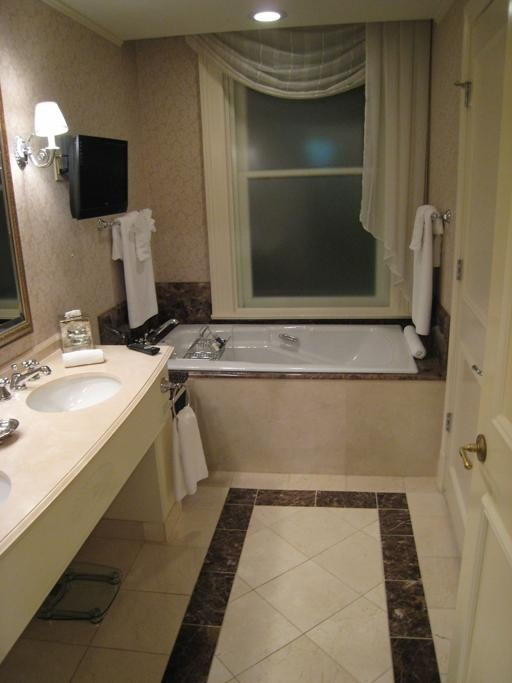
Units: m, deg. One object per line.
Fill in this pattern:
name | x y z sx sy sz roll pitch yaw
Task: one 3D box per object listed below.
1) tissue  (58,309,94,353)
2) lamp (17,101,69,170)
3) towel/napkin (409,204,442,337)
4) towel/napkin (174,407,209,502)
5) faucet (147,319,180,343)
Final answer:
tissue  | -0.741 -0.046 1.967 0.126 0.165 0.091 -6 12 -17
lamp | -0.798 -0.772 1.784 0.169 0.233 0.115 -8 7 1
towel/napkin | 0.886 -0.377 2.501 0.154 0.674 0.304 2 12 20
towel/napkin | -0.301 0.510 2.174 0.090 0.403 0.175 1 12 15
faucet | -0.585 -0.068 3.027 0.162 0.047 0.087 -43 21 -27
